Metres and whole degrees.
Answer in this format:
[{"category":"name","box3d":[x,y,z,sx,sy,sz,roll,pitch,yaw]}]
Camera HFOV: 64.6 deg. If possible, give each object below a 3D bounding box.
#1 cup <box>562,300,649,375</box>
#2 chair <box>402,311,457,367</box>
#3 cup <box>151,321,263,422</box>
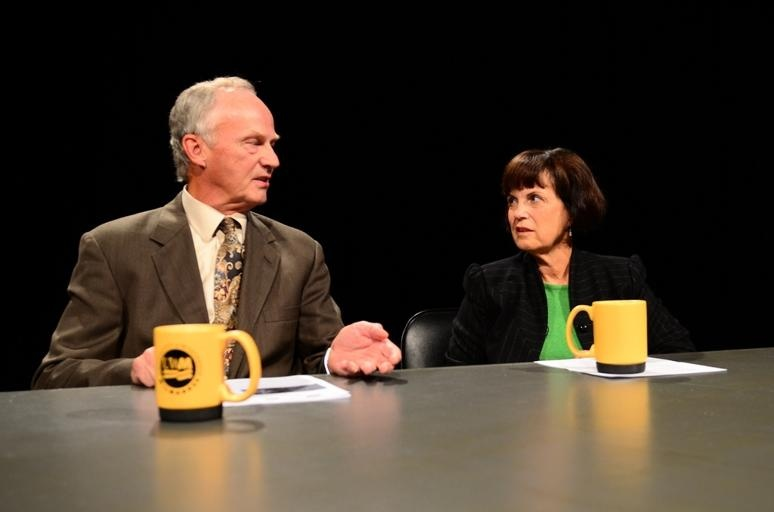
[{"category":"cup","box3d":[0.520,0.190,1.458,0.190,0.157,0.123,-3,-3,35]},{"category":"chair","box3d":[0.145,0.289,2.173,0.196,0.238,0.205,0,-4,-4]},{"category":"cup","box3d":[-0.339,0.222,1.160,0.203,0.160,0.126,0,-8,-8]}]
